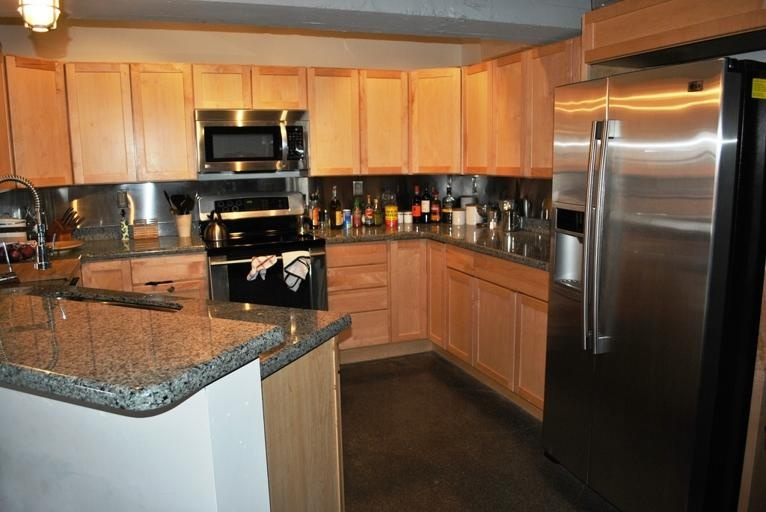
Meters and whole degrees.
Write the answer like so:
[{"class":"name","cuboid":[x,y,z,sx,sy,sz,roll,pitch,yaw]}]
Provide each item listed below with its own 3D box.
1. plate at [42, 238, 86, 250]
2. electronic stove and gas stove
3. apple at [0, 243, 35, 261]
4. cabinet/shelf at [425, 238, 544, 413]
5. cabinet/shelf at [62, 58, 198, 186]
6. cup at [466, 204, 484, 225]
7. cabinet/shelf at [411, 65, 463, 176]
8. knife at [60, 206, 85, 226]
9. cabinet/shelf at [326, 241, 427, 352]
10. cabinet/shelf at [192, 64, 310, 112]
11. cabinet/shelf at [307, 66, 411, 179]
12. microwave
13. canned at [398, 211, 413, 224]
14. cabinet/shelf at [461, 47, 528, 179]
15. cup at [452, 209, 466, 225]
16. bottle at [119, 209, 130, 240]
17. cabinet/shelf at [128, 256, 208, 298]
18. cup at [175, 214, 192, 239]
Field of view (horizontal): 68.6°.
[{"class":"plate","cuboid":[-2.300,-0.082,4.041,0.186,0.031,0.173,3,5,22]},{"class":"electronic stove and gas stove","cuboid":[-1.012,-0.135,4.346,0.595,0.138,0.505,-4,11,-22]},{"class":"apple","cuboid":[-2.356,-0.025,3.613,0.209,0.073,0.190,3,5,2]},{"class":"cabinet/shelf","cuboid":[0.721,0.485,3.894,0.711,0.714,1.201,-3,10,-26]},{"class":"cabinet/shelf","cuboid":[-1.828,-1.020,4.343,1.145,0.902,0.408,1,8,13]},{"class":"cup","cuboid":[0.752,-0.342,4.672,0.179,0.157,0.163,0,11,0]},{"class":"cabinet/shelf","cuboid":[0.305,-1.182,4.829,0.742,0.819,0.665,-1,21,2]},{"class":"knife","cuboid":[-2.446,-0.306,4.384,0.070,0.145,0.143,9,14,25]},{"class":"cabinet/shelf","cuboid":[-0.076,0.265,4.303,1.041,0.807,0.344,-2,6,-17]},{"class":"cabinet/shelf","cuboid":[-1.108,-1.345,4.502,0.934,0.313,0.264,7,19,22]},{"class":"cabinet/shelf","cuboid":[-0.102,-1.100,4.660,1.019,0.854,0.360,10,19,32]},{"class":"microwave","cuboid":[-1.140,-0.886,4.618,0.946,0.385,0.493,-9,13,-36]},{"class":"canned","cuboid":[0.193,-0.345,5.019,0.186,0.111,0.096,3,17,6]},{"class":"cabinet/shelf","cuboid":[0.982,-1.060,4.285,0.362,0.809,0.953,-7,13,-19]},{"class":"cup","cuboid":[0.605,-0.336,4.810,0.137,0.126,0.127,0,15,0]},{"class":"bottle","cuboid":[-2.076,-0.252,4.475,0.072,0.225,0.151,-4,14,-24]},{"class":"cabinet/shelf","cuboid":[-1.534,0.121,4.064,0.557,0.306,0.484,-2,3,-16]},{"class":"cup","cuboid":[-1.599,-0.242,4.575,0.200,0.193,0.187,2,5,0]}]
